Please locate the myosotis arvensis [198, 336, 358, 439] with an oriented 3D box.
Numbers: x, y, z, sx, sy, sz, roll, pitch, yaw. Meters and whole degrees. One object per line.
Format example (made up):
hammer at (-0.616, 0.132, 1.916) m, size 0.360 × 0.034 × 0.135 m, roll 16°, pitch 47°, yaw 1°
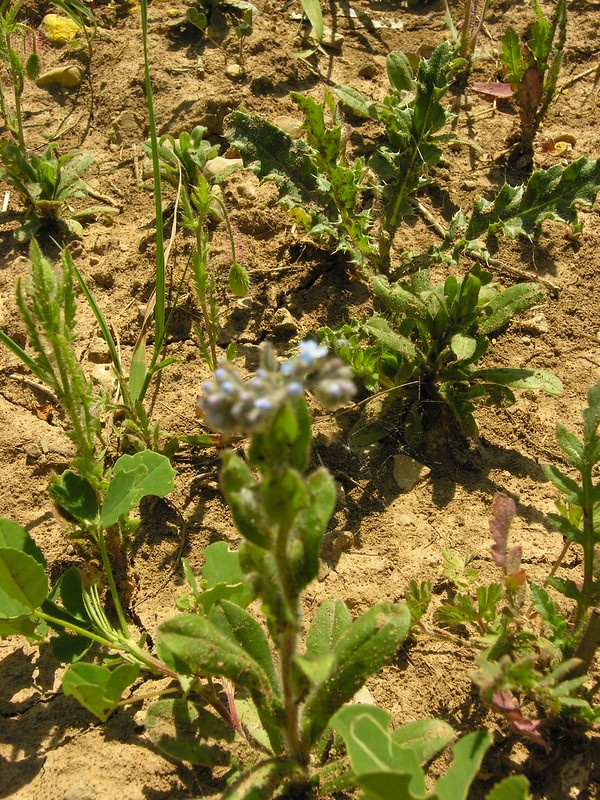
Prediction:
myosotis arvensis at (-0.044, -0.012, 1.742) m, size 0.209 × 0.139 × 0.322 m, roll 37°, pitch 44°, yaw 27°
